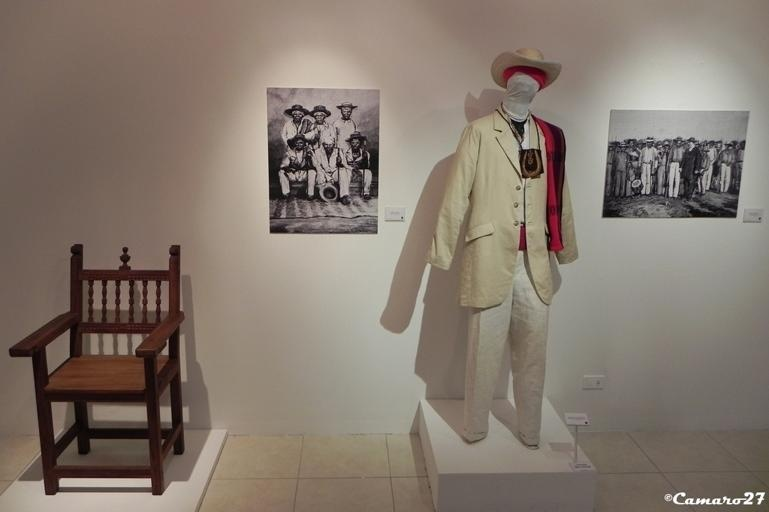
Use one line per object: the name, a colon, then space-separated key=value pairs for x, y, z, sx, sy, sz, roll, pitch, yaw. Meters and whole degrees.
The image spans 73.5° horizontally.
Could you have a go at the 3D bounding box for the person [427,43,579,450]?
person: x=0.757 y=-0.012 z=3.224 sx=0.938 sy=2.450 sz=0.325 roll=-1 pitch=8 yaw=5

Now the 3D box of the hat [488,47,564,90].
hat: x=0.858 y=-1.136 z=3.126 sx=0.396 sy=0.233 sz=0.214 roll=-1 pitch=9 yaw=8

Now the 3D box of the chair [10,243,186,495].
chair: x=-1.755 y=0.690 z=3.327 sx=0.896 sy=1.521 sz=0.827 roll=-4 pitch=9 yaw=-15
